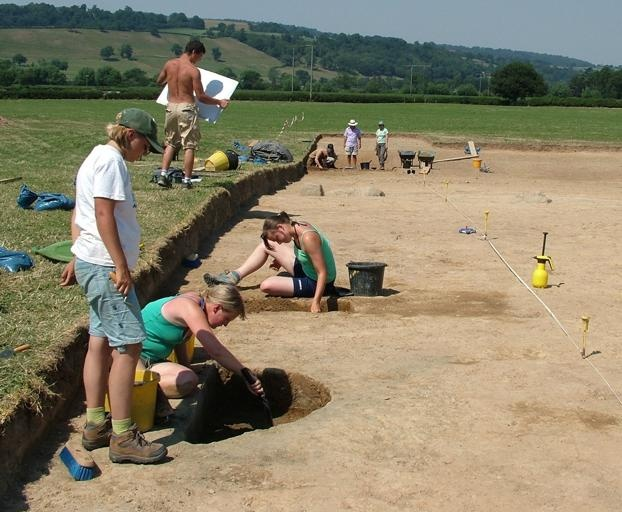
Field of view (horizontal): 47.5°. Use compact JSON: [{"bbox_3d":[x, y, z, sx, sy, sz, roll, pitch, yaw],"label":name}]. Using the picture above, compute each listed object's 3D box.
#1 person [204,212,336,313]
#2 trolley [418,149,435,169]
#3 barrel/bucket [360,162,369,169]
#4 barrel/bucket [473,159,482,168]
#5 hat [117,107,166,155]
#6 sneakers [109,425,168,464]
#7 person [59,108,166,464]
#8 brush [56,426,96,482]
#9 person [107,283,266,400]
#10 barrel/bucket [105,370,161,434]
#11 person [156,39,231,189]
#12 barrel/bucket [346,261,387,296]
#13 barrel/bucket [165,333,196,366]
[{"bbox_3d":[-0.289,0.000,7.471,0.958,1.019,1.119,-11,20,-44],"label":"person"},{"bbox_3d":[3.433,-2.851,20.762,0.700,0.443,0.638,0,11,3],"label":"trolley"},{"bbox_3d":[1.691,-2.734,21.552,0.261,0.175,0.270,1,-2,0],"label":"barrel/bucket"},{"bbox_3d":[5.069,-2.809,21.609,0.333,0.266,0.320,-1,7,0],"label":"barrel/bucket"},{"bbox_3d":[-1.079,-0.818,4.518,0.370,0.193,0.241,23,11,-27],"label":"hat"},{"bbox_3d":[-1.122,1.210,4.570,0.383,0.211,0.164,2,4,3],"label":"sneakers"},{"bbox_3d":[-1.250,0.145,4.726,0.836,2.231,1.140,-2,5,-36],"label":"person"},{"bbox_3d":[-1.468,1.283,4.466,0.160,0.154,0.309,-9,18,-40],"label":"brush"},{"bbox_3d":[-0.922,0.607,5.282,1.158,0.724,0.718,9,8,1],"label":"person"},{"bbox_3d":[-1.209,1.013,4.932,0.455,0.300,0.433,1,1,0],"label":"barrel/bucket"},{"bbox_3d":[-1.804,-2.130,10.801,1.267,2.783,1.036,-2,3,-41],"label":"person"},{"bbox_3d":[0.611,0.248,7.690,0.502,0.316,0.453,4,9,30],"label":"barrel/bucket"},{"bbox_3d":[-1.114,0.794,5.890,0.250,0.229,0.249,-1,26,0],"label":"barrel/bucket"}]
